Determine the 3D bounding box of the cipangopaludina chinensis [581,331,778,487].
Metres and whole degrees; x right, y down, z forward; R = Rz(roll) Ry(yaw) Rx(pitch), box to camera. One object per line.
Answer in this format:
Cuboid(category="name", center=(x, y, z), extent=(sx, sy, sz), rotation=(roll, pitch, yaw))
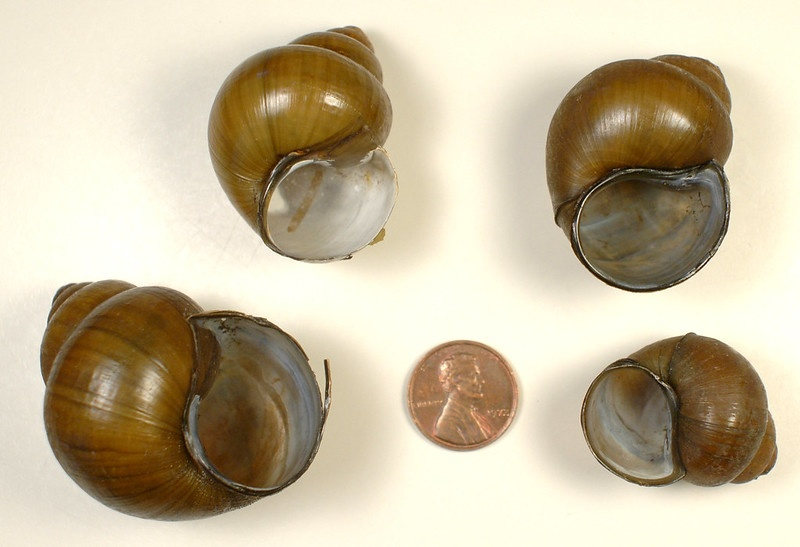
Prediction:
Cuboid(category="cipangopaludina chinensis", center=(0.893, 0.448, 2.749), extent=(0.584, 0.308, 0.435), rotation=(6, -69, -1))
